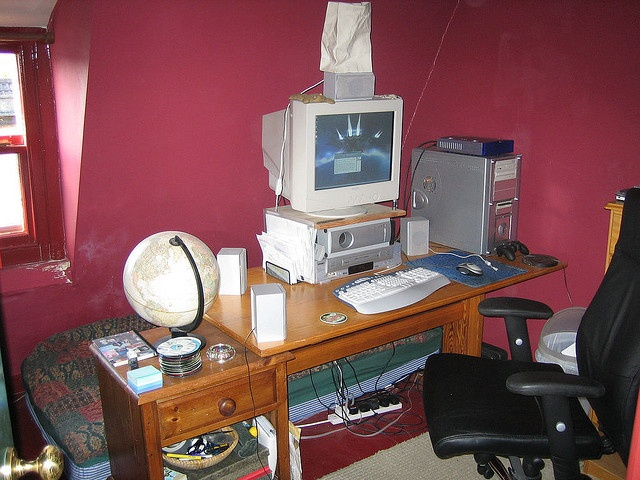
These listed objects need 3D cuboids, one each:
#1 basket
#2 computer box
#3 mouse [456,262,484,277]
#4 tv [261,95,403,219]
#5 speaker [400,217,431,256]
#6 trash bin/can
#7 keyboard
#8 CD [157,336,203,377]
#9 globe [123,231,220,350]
[{"bbox_3d":[-0.469,0.844,2.173,0.277,0.113,0.287,-5,15,-37],"label":"basket"},{"bbox_3d":[0.793,-0.280,3.168,0.444,0.745,0.731,-15,22,-42],"label":"computer box"},{"bbox_3d":[0.774,0.138,2.712,0.064,0.031,0.091,-6,23,-37],"label":"mouse"},{"bbox_3d":[0.012,-0.508,2.939,0.652,0.602,0.649,-10,24,-31],"label":"tv"},{"bbox_3d":[0.537,-0.018,2.997,0.156,0.237,0.122,-11,16,-32],"label":"speaker"},{"bbox_3d":[1.280,0.713,2.862,0.235,0.652,0.296,1,18,-6],"label":"trash bin/can"},{"bbox_3d":[0.309,0.134,2.429,0.360,0.043,0.191,-14,26,-38],"label":"keyboard"},{"bbox_3d":[-0.520,0.425,1.995,0.141,0.133,0.152,-8,17,-32],"label":"CD"},{"bbox_3d":[-0.565,0.167,2.066,0.248,0.430,0.289,-5,23,-44],"label":"globe"}]
